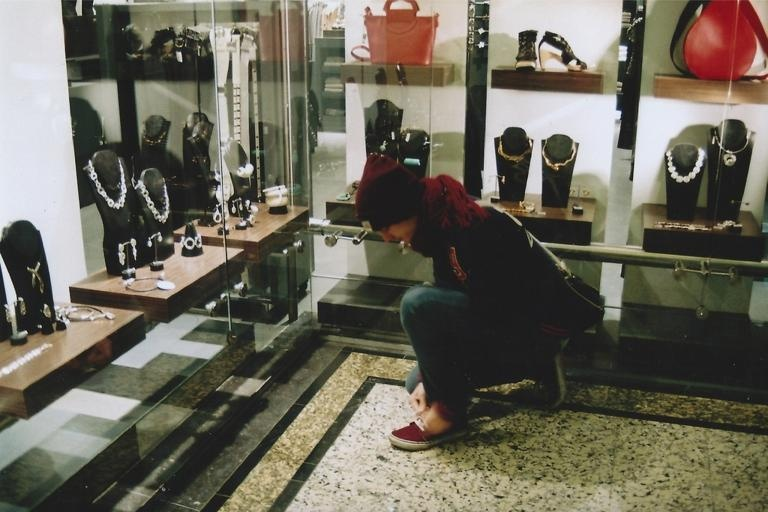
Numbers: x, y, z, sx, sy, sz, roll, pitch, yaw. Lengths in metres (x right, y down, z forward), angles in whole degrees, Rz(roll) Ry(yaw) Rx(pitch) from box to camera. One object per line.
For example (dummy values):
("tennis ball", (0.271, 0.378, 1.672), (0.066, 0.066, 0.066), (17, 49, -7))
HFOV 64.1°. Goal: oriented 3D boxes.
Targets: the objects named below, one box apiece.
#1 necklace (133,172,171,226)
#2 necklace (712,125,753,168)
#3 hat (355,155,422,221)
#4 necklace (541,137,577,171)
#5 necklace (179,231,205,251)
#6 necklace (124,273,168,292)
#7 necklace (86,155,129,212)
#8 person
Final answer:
("necklace", (-1.092, -0.283, 2.923), (0.048, 0.203, 0.165), (10, 34, 27))
("necklace", (1.809, -0.571, 3.171), (0.180, 0.215, 0.114), (5, 22, 19))
("hat", (0.015, -0.286, 3.042), (0.253, 0.291, 0.335), (-28, -15, -12))
("necklace", (0.962, -0.566, 3.398), (0.191, 0.178, 0.067), (17, 8, 11))
("necklace", (-0.973, -0.067, 3.098), (0.091, 0.086, 0.074), (-1, 9, 7))
("necklace", (-1.099, 0.130, 2.848), (0.118, 0.028, 0.087), (-8, 14, -33))
("necklace", (-1.191, -0.312, 2.675), (0.042, 0.184, 0.145), (-2, 2, 25))
("person", (0.464, 0.198, 3.042), (1.154, 1.357, 0.450), (-4, 17, -11))
